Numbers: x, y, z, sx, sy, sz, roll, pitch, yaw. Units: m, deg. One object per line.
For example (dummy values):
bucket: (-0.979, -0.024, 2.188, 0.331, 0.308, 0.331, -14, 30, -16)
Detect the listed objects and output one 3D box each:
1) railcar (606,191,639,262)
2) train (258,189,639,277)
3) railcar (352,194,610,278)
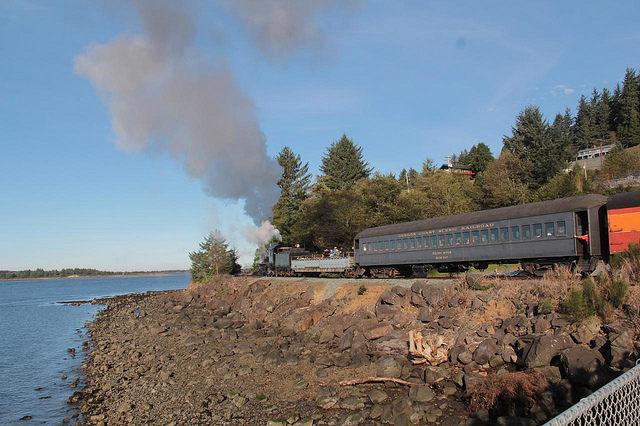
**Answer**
railcar: (19.952, 0.685, 29.144, 1.819, 3.628, 1.711, -5, 9, 27)
train: (12.216, 2.037, 44.519, 8.081, 7.549, 45.085, -1, -6, -36)
railcar: (11.814, 3.085, 41.114, 4.406, 6.285, 24.960, -1, -6, -31)
